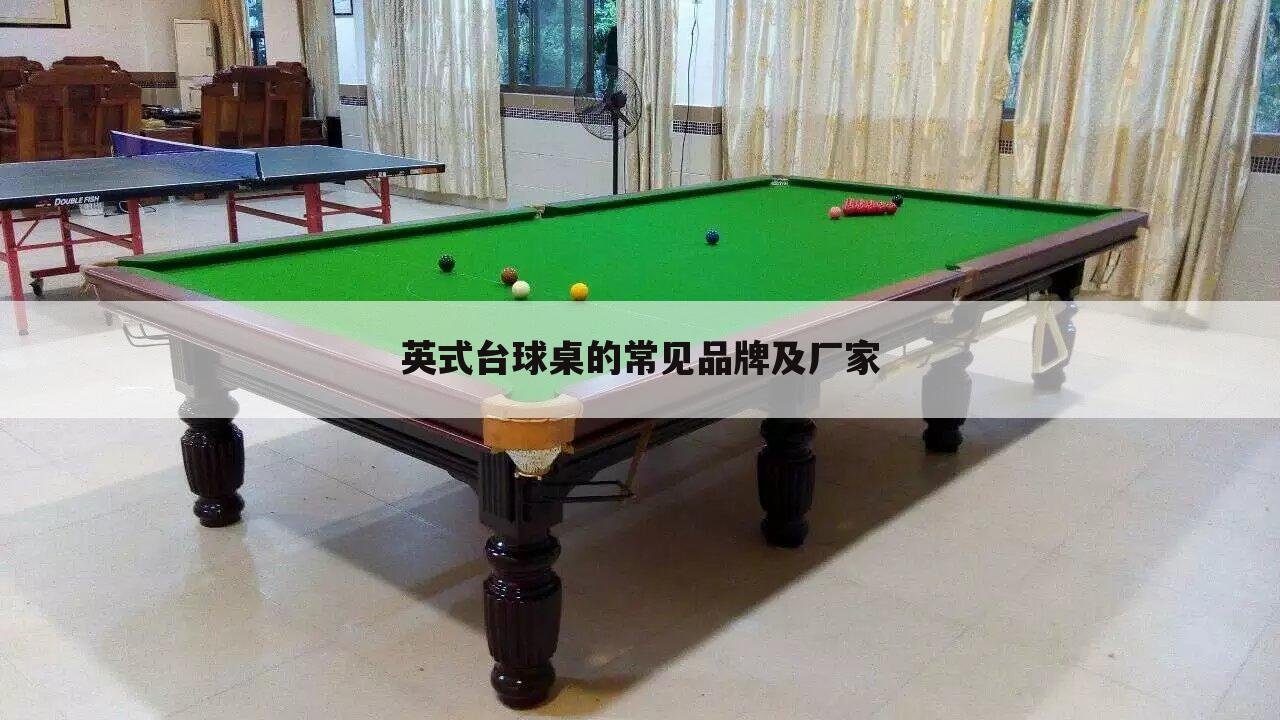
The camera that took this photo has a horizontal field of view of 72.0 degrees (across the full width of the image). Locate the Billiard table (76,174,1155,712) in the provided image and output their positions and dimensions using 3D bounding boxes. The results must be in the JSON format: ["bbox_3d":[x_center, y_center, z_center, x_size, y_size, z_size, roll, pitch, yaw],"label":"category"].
[{"bbox_3d":[0.088,0.126,4.406,4.203,1.718,2.320,-14,21,-37],"label":"Billiard table"}]
